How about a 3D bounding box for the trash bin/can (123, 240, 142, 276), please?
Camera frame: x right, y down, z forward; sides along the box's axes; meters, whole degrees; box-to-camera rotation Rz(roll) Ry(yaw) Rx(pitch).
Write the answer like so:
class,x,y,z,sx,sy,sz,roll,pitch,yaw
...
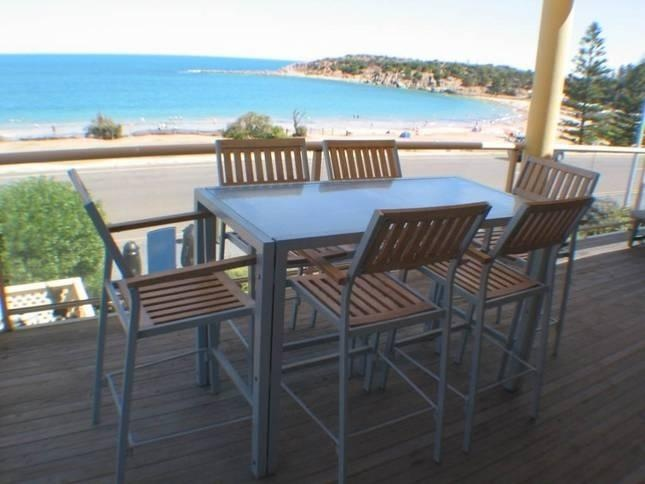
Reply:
class,x,y,z,sx,sy,sz,roll,pitch,yaw
trash bin/can,-1.197,0.141,3.082,0.087,0.297,0.095,-3,16,-14
